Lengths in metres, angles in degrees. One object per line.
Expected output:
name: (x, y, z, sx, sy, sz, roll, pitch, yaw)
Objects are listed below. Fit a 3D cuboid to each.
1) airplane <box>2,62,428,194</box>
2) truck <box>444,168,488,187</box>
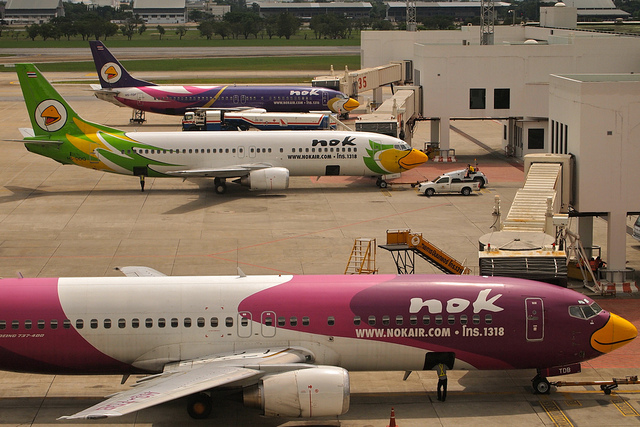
airplane: (-10.577, -6.842, 75.762, 29.368, 6.303, 18.004, 0, 19, -4)
truck: (14.626, -3.545, 74.852, 4.048, 1.120, 2.016, -1, 11, -4)
